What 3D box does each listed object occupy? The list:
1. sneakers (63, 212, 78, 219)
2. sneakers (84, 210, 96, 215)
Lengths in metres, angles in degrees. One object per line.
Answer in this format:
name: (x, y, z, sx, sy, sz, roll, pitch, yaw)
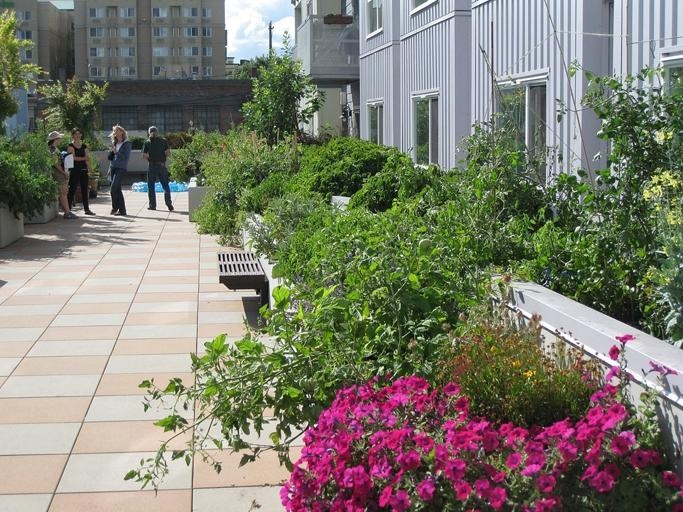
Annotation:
sneakers: (-6.471, -0.950, 15.025, 0.282, 0.147, 0.105, -1, 14, -18)
sneakers: (-6.297, -1.043, 15.733, 0.252, 0.131, 0.098, 7, 21, -4)
